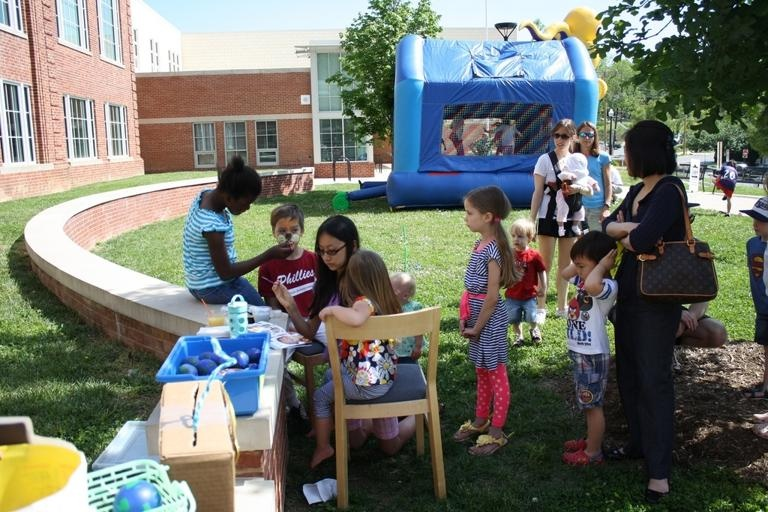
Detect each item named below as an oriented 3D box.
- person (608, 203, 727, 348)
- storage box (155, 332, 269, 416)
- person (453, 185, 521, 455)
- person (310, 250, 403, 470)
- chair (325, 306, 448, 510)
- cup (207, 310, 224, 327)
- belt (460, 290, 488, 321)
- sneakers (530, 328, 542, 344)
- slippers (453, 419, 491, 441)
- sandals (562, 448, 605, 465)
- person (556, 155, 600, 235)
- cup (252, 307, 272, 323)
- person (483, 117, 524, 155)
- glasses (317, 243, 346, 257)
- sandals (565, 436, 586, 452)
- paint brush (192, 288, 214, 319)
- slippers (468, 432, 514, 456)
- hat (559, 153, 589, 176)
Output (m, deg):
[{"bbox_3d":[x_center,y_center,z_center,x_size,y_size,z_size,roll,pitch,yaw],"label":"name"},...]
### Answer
[{"bbox_3d":[2.309,0.299,4.636,0.866,0.847,0.352,1,-31,8],"label":"person"},{"bbox_3d":[-1.001,0.728,3.600,0.686,0.325,0.912,1,10,4],"label":"storage box"},{"bbox_3d":[0.808,0.472,4.470,0.592,2.014,0.477,-5,7,-19],"label":"person"},{"bbox_3d":[-0.202,0.774,4.202,0.768,1.531,0.794,-2,-6,27],"label":"person"},{"bbox_3d":[0.038,0.996,3.980,0.830,1.332,0.486,-3,7,-7],"label":"chair"},{"bbox_3d":[-1.264,0.474,4.256,0.103,0.106,0.114,0,-5,0],"label":"cup"},{"bbox_3d":[0.727,0.401,4.558,0.223,0.222,0.190,5,-9,8],"label":"belt"},{"bbox_3d":[1.616,0.843,5.972,0.073,0.086,0.221,-9,-5,8],"label":"sneakers"},{"bbox_3d":[0.713,1.386,4.529,0.262,0.105,0.125,-6,1,-16],"label":"slippers"},{"bbox_3d":[1.487,1.476,4.227,0.253,0.099,0.120,2,3,10],"label":"sandals"},{"bbox_3d":[2.177,-0.674,6.393,0.424,0.940,0.378,0,17,-7],"label":"person"},{"bbox_3d":[-1.007,0.483,4.672,0.117,0.080,0.120,0,-3,0],"label":"cup"},{"bbox_3d":[3.070,-2.957,14.249,0.813,1.092,0.790,13,34,30],"label":"person"},{"bbox_3d":[-0.406,-0.033,4.271,0.116,0.036,0.120,-2,22,32],"label":"glasses"},{"bbox_3d":[1.463,1.432,4.309,0.174,0.071,0.071,-5,13,21],"label":"sandals"},{"bbox_3d":[-1.615,0.423,5.052,0.137,0.189,0.080,-17,12,45],"label":"paint brush"},{"bbox_3d":[0.820,1.440,4.364,0.270,0.102,0.141,-8,9,-18],"label":"slippers"},{"bbox_3d":[2.121,-1.006,6.293,0.229,0.242,0.323,5,28,1],"label":"hat"}]
